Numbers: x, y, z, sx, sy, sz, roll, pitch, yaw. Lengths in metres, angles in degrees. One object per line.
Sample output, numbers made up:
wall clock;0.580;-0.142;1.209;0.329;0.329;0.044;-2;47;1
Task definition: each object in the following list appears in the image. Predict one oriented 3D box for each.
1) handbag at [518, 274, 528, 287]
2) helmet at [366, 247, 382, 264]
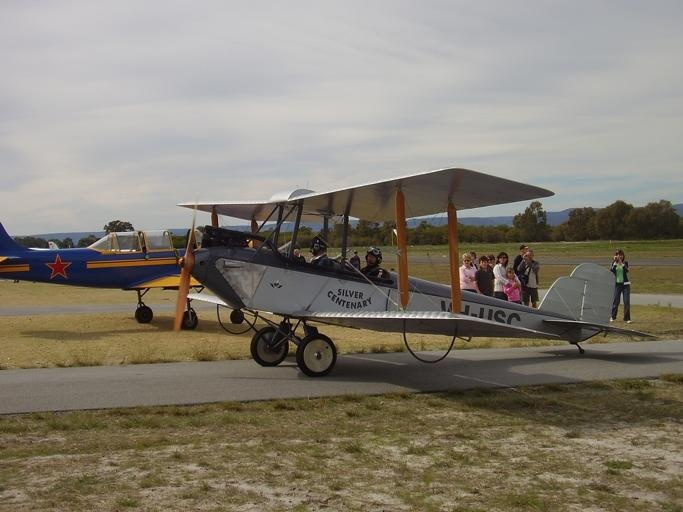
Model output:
handbag;3.886;0.517;14.834;0.311;0.201;0.137;-8;-28;-3
helmet;0.543;-0.016;11.631;0.305;0.229;0.245;1;13;-29
